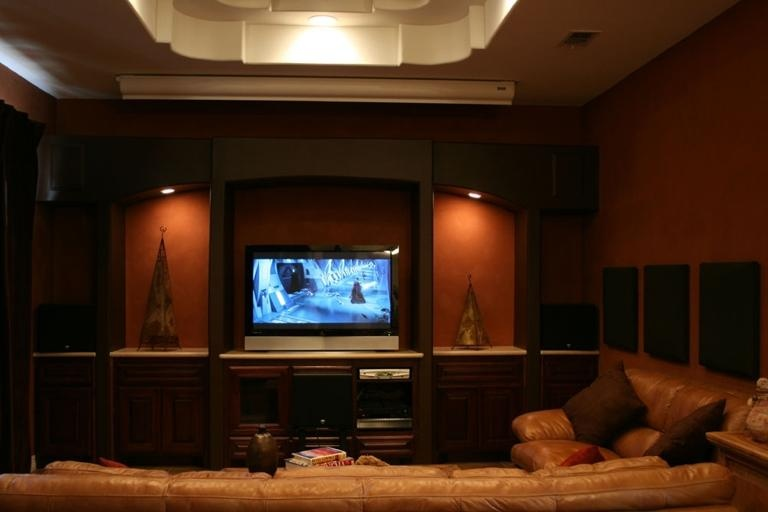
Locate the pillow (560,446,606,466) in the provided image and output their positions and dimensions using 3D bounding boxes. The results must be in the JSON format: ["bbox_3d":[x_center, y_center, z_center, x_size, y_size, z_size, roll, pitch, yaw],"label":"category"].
[{"bbox_3d":[1.306,1.322,4.528,0.258,0.104,0.247,-10,-2,15],"label":"pillow"}]
